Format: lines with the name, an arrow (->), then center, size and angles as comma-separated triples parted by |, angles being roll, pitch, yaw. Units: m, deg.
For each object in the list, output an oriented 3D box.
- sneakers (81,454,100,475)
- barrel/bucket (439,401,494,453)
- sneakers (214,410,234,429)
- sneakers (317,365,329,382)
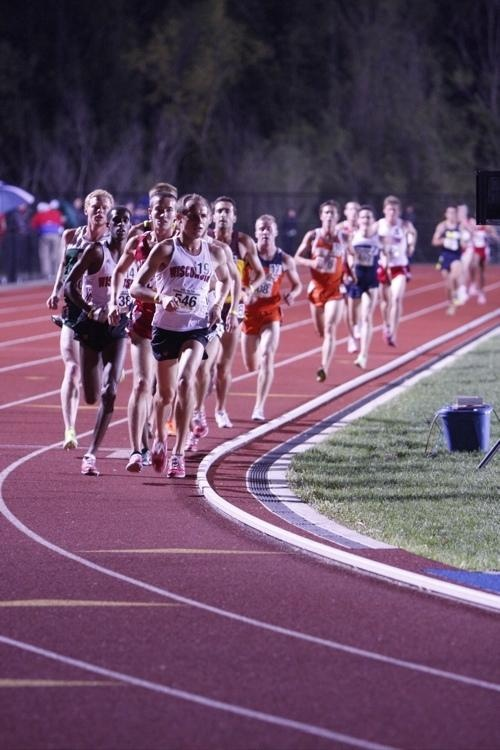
sneakers -> -1.227, 0.693, 6.412 | 0.092, 0.099, 0.228 | 3, -1, -18
barrel/bucket -> 1.826, 0.444, 7.226 | 0.473, 0.367, 0.420 | -2, -3, -4
sneakers -> -0.262, 0.441, 8.362 | 0.115, 0.089, 0.227 | -7, 9, -11
sneakers -> 0.857, -0.017, 10.349 | 0.176, 0.160, 0.055 | 18, 29, -25
